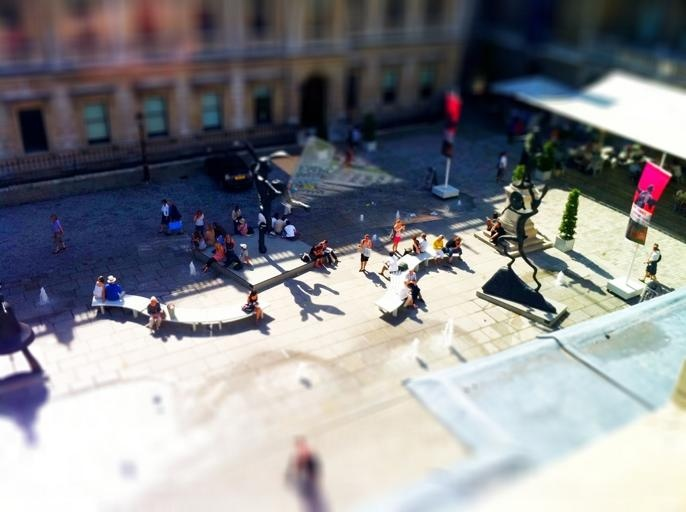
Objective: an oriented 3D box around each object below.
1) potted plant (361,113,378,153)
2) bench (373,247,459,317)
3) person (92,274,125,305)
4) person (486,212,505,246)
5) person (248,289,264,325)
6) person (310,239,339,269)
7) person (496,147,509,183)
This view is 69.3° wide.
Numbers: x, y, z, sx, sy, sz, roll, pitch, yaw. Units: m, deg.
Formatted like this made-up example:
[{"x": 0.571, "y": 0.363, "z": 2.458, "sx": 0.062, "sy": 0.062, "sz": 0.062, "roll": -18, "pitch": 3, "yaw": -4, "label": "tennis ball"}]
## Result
[{"x": 1.742, "y": -8.402, "z": 33.770, "sx": 0.953, "sy": 2.646, "sz": 1.226, "roll": -11, "pitch": 12, "yaw": 5, "label": "potted plant"}, {"x": 3.047, "y": 1.153, "z": 20.491, "sx": 1.096, "sy": 0.294, "sz": 2.972, "roll": 25, "pitch": 44, "yaw": 24, "label": "bench"}, {"x": -8.784, "y": 1.118, "z": 18.612, "sx": 1.237, "sy": 1.300, "sz": 1.075, "roll": 1, "pitch": 36, "yaw": -15, "label": "person"}, {"x": 7.280, "y": -1.354, "z": 23.766, "sx": 0.845, "sy": 1.337, "sz": 1.759, "roll": -9, "pitch": 12, "yaw": 16, "label": "person"}, {"x": -3.284, "y": 1.954, "z": 18.512, "sx": 0.396, "sy": 1.495, "sz": 0.628, "roll": 31, "pitch": 53, "yaw": 29, "label": "person"}, {"x": -0.882, "y": -0.032, "z": 21.803, "sx": 1.426, "sy": 1.427, "sz": 0.800, "roll": -6, "pitch": 56, "yaw": 0, "label": "person"}, {"x": 9.931, "y": -5.655, "z": 31.026, "sx": 0.907, "sy": 2.823, "sz": 0.909, "roll": -3, "pitch": 67, "yaw": 10, "label": "person"}]
